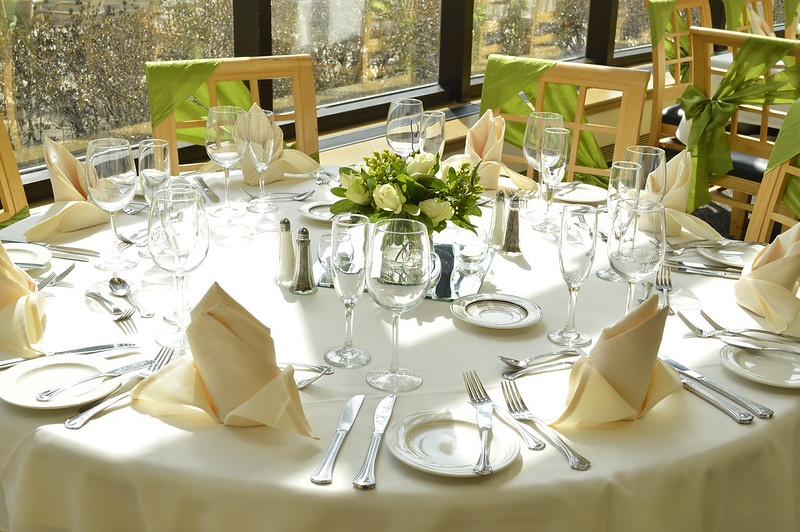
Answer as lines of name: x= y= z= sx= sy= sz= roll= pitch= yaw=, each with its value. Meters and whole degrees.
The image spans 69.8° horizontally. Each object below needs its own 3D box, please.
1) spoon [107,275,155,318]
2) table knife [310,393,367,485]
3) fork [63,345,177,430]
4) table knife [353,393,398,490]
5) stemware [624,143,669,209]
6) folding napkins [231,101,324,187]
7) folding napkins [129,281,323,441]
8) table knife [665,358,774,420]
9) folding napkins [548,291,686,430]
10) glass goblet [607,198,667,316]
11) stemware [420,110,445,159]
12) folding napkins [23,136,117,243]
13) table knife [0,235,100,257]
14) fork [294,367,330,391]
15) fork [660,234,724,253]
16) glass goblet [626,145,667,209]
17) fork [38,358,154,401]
spoon: x=-0.667 y=0.045 z=1.418 sx=0.059 sy=0.054 sz=0.319 roll=-8 pitch=22 yaw=-28
table knife: x=-0.118 y=0.294 z=1.025 sx=0.032 sy=0.011 sz=0.212 roll=7 pitch=27 yaw=9
fork: x=-0.546 y=0.244 z=1.124 sx=0.026 sy=0.027 sz=0.171 roll=18 pitch=41 yaw=17
table knife: x=-0.054 y=0.310 z=1.029 sx=0.029 sy=0.011 sz=0.195 roll=-1 pitch=27 yaw=11
stemware: x=0.790 y=-0.264 z=1.845 sx=0.124 sy=0.211 sz=0.132 roll=8 pitch=-2 yaw=1
folding napkins: x=-0.445 y=-0.385 z=2.120 sx=0.234 sy=0.103 sz=0.299 roll=13 pitch=56 yaw=-21
folding napkins: x=-0.371 y=0.177 z=1.119 sx=0.333 sy=0.187 sz=0.380 roll=16 pitch=10 yaw=-47
table knife: x=0.656 y=0.258 z=1.181 sx=0.023 sy=0.009 sz=0.177 roll=-19 pitch=32 yaw=-18
folding napkins: x=0.446 y=0.204 z=1.186 sx=0.185 sy=0.186 sz=0.098 roll=-7 pitch=23 yaw=-28
glass goblet: x=0.561 y=0.034 z=1.383 sx=0.135 sy=0.405 sz=0.138 roll=4 pitch=20 yaw=23
stemware: x=0.109 y=-0.437 z=1.921 sx=0.070 sy=0.150 sz=0.115 roll=3 pitch=22 yaw=10
folding napkins: x=-0.987 y=-0.223 z=1.844 sx=0.262 sy=0.349 sz=0.264 roll=-2 pitch=-2 yaw=2
table knife: x=-0.991 y=-0.055 z=1.621 sx=0.306 sy=0.016 sz=0.046 roll=6 pitch=37 yaw=5
fork: x=-0.185 y=0.233 z=1.179 sx=0.055 sy=0.011 sz=0.035 roll=-25 pitch=45 yaw=-3
fork: x=0.858 y=-0.065 z=1.687 sx=0.228 sy=0.047 sz=0.043 roll=-4 pitch=43 yaw=-4
glass goblet: x=0.800 y=-0.300 z=1.849 sx=0.119 sy=0.194 sz=0.122 roll=-28 pitch=33 yaw=-30
fork: x=-0.585 y=0.209 z=1.140 sx=0.026 sy=0.055 sz=0.287 roll=-16 pitch=-3 yaw=22
